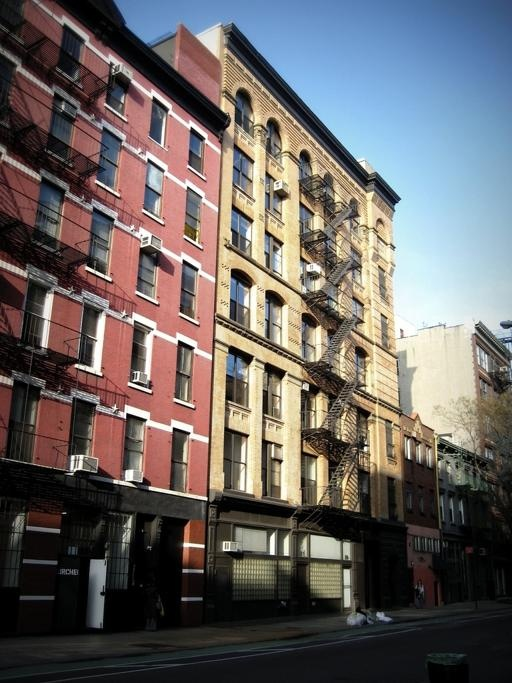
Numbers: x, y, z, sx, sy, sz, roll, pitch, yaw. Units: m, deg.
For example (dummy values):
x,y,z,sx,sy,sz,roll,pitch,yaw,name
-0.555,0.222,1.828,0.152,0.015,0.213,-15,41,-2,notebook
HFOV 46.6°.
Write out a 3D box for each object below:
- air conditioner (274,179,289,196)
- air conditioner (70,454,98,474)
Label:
x,y,z,sx,sy,sz,roll,pitch,yaw,name
1.410,-8.642,33.569,0.590,0.746,1.132,-17,-13,20,air conditioner
-5.073,3.633,17.429,0.513,0.507,0.926,-12,-25,35,air conditioner
